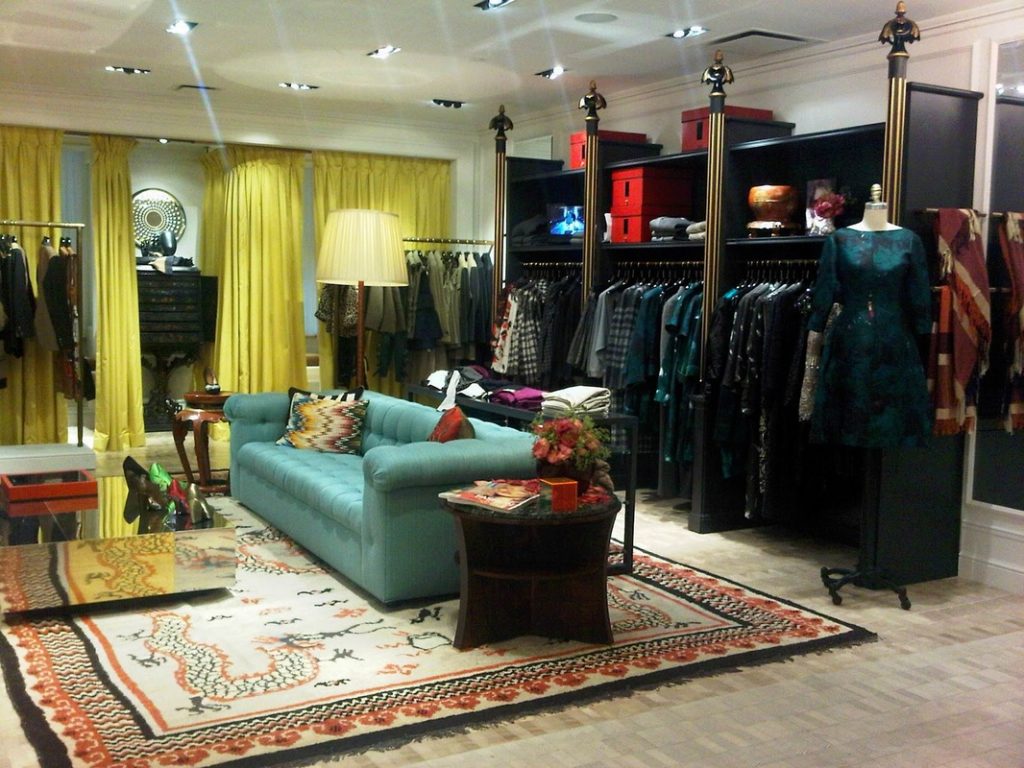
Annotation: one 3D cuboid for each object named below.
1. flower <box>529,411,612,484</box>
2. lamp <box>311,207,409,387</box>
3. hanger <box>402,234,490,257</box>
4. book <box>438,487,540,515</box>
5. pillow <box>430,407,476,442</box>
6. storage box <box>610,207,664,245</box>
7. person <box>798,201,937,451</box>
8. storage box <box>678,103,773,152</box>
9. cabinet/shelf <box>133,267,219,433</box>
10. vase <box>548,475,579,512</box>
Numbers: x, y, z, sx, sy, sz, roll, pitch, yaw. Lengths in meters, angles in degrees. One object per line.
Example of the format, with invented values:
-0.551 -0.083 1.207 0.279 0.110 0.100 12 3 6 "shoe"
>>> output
0.280 0.292 3.600 0.364 0.327 0.344 0 3 -5 "flower"
-1.133 -0.634 6.125 0.639 1.395 1.563 0 8 -13 "lamp"
-0.639 -1.387 8.111 0.885 0.190 0.767 -1 8 -22 "hanger"
-0.091 0.453 3.389 0.369 0.061 0.262 7 9 31 "book"
-0.321 0.214 4.377 0.126 0.076 0.149 -35 22 6 "pillow"
0.915 -1.156 6.020 0.309 0.169 0.297 -3 7 -30 "storage box"
1.835 -0.343 4.102 0.617 1.275 0.275 4 8 16 "person"
1.460 -1.776 5.574 0.443 0.242 0.421 -1 7 -5 "storage box"
-3.655 -0.424 8.930 0.762 1.685 0.739 -1 9 -23 "cabinet/shelf"
0.214 0.444 3.351 0.120 0.106 0.115 -1 0 -31 "vase"
